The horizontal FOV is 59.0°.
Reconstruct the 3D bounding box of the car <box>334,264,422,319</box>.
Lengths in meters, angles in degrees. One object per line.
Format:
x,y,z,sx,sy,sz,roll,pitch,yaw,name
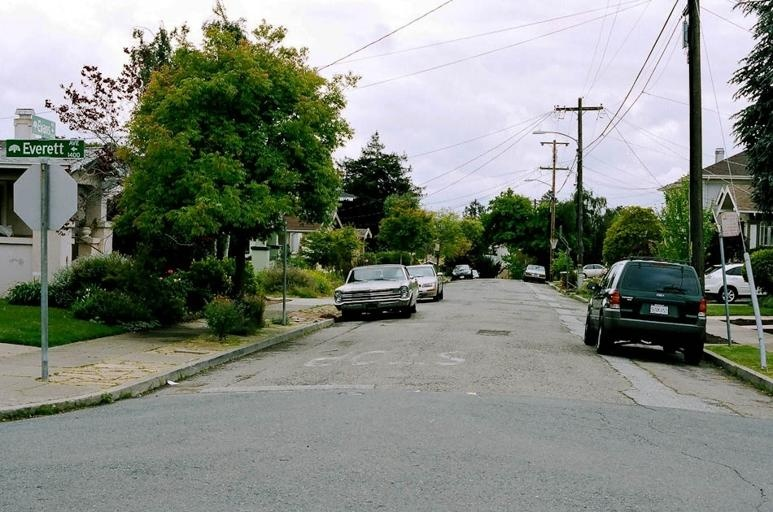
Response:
-0.374,1.261,25.129,2.531,1.977,2.533,-2,-2,11,car

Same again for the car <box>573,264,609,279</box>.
16.490,1.212,55.680,2.213,1.019,1.099,3,-3,-3,car

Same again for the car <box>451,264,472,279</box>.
8.734,1.775,78.907,1.847,1.530,2.058,-2,-2,32,car

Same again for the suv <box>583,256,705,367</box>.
6.003,1.069,16.748,1.631,1.466,3.206,2,2,3,suv

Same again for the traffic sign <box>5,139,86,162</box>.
-6.288,-2.027,12.853,1.608,0.427,0.772,-2,-2,7,traffic sign

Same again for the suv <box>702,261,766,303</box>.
14.811,1.138,29.139,3.377,1.475,1.544,-6,5,-6,suv

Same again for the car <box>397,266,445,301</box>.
1.434,1.177,29.796,1.430,1.144,3.164,-1,-6,7,car
